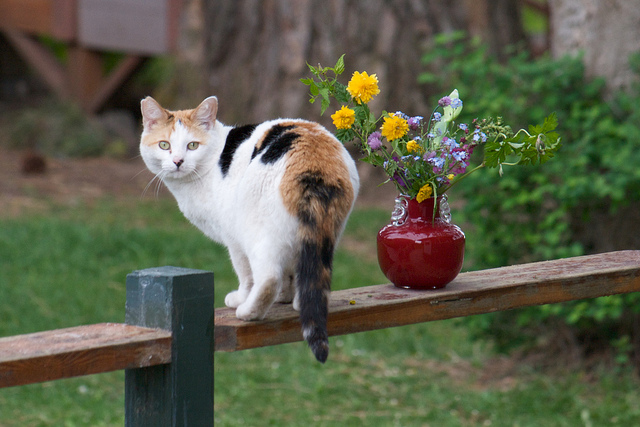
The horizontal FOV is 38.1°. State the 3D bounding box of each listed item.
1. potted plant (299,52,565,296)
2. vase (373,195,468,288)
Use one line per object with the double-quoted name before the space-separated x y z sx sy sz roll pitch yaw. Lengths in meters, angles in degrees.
"potted plant" 0.755 -0.214 6.319 1.501 1.548 0.691 -3 -2 1
"vase" 0.657 0.210 6.165 0.511 0.603 0.559 -1 -3 -11
